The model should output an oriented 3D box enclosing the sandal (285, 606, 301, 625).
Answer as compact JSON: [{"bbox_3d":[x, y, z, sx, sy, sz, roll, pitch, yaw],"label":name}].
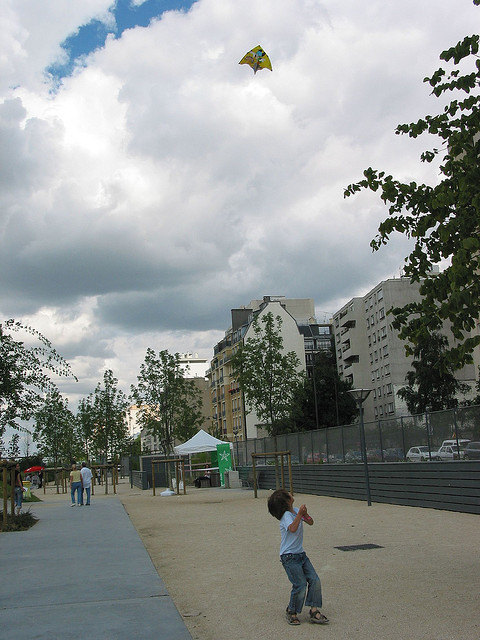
[{"bbox_3d":[0.404,2.240,3.875,0.047,0.070,0.146,2,-12,-12],"label":"sandal"}]

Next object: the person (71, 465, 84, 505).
[{"bbox_3d":[-7.141,7.337,22.772,0.466,1.629,2.241,0,-11,-18],"label":"person"}]

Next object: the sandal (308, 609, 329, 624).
[{"bbox_3d":[0.570,2.194,3.833,0.065,0.101,0.197,4,-17,-30],"label":"sandal"}]

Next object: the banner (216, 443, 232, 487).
[{"bbox_3d":[-1.047,10.121,36.382,1.185,0.049,3.835,-1,31,-2],"label":"banner"}]

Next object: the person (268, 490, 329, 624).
[{"bbox_3d":[0.437,1.782,3.919,0.365,0.935,0.284,-3,-9,-4],"label":"person"}]
